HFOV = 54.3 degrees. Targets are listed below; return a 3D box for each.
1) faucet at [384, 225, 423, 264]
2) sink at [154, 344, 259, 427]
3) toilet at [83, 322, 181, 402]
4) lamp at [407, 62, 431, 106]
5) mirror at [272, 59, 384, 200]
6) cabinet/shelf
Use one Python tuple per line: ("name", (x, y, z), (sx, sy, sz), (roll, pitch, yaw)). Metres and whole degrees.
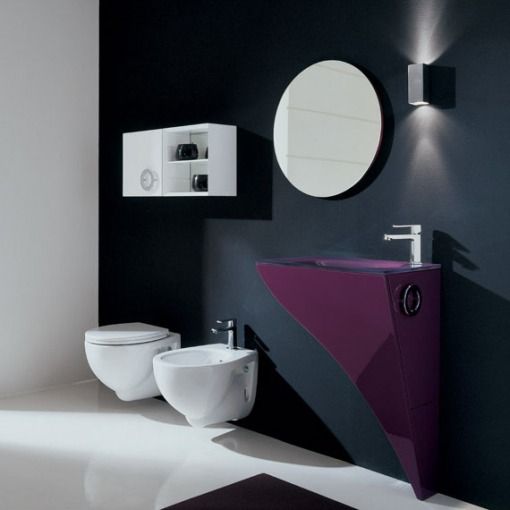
("faucet", (0.585, -0.045, 1.961), (0.131, 0.164, 0.315), (0, 1, 19))
("sink", (-0.265, 0.639, 2.545), (0.409, 0.342, 0.396), (-8, 11, -43))
("toilet", (-0.720, 0.599, 2.947), (0.458, 0.456, 0.392), (1, 1, -41))
("lamp", (0.635, -0.664, 1.926), (0.081, 0.145, 0.066), (0, 1, 13))
("mirror", (0.346, -0.577, 2.260), (0.073, 0.771, 0.589), (-5, 4, -40))
("cabinet/shelf", (-0.472, -0.553, 2.984), (0.871, 0.447, 0.229), (1, 1, 44))
